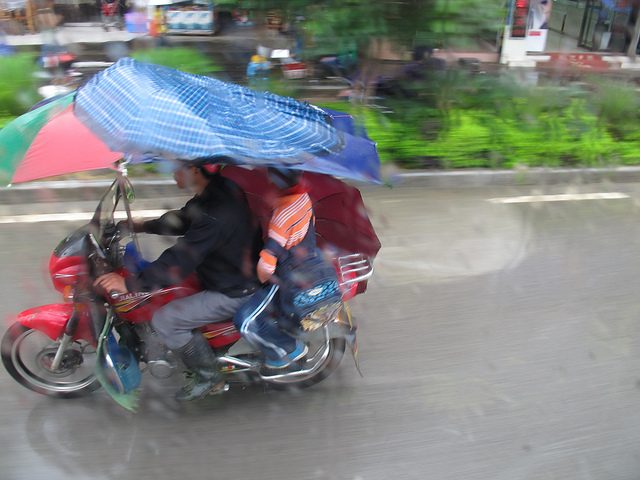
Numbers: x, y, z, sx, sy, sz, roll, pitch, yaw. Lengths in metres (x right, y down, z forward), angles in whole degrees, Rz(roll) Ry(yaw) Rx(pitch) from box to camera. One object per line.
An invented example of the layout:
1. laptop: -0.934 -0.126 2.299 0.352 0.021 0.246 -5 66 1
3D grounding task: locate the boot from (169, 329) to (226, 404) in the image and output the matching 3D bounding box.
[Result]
1. boot: -0.928 0.933 3.759 0.323 0.596 0.189 -22 42 -37

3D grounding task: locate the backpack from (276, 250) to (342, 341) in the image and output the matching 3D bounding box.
1. backpack: -0.102 0.444 3.650 0.397 0.750 0.302 -8 35 -21
